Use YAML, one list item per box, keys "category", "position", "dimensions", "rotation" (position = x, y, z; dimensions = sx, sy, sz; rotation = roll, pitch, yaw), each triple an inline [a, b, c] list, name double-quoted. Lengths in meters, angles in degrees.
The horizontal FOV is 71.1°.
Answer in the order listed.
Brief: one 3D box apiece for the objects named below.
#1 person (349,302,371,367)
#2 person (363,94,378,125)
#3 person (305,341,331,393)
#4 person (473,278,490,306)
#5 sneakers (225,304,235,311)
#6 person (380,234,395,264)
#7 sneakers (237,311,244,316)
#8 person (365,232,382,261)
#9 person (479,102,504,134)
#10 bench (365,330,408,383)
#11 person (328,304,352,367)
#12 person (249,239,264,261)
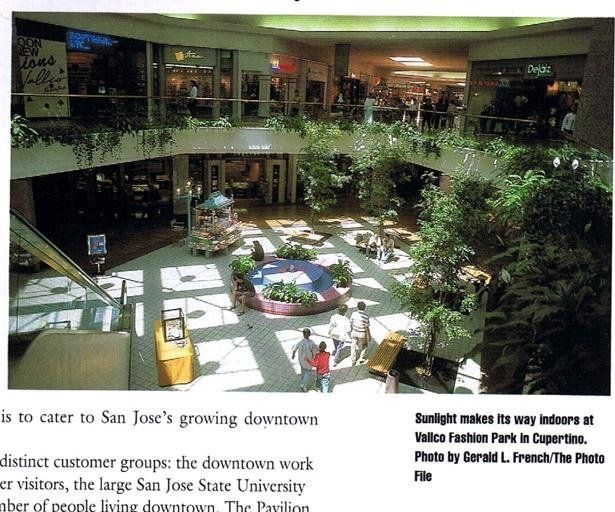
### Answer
- category: "person"
  position: [1.133, 1.601, 9.307]
  dimensions: [0.410, 1.478, 0.627]
  rotation: [7, 20, 12]
- category: "person"
  position: [2.551, -5.896, 17.519]
  dimensions: [0.475, 1.006, 0.779]
  rotation: [5, 19, 6]
- category: "person"
  position: [0.237, 2.078, 8.095]
  dimensions: [0.375, 1.247, 0.483]
  rotation: [6, 20, 9]
- category: "person"
  position: [4.863, 0.979, 12.126]
  dimensions: [0.373, 0.809, 0.591]
  rotation: [9, -18, -27]
- category: "sneakers"
  position: [-2.030, 1.355, 11.547]
  dimensions: [0.256, 0.101, 0.278]
  rotation: [11, 19, 27]
- category: "person"
  position: [2.902, -0.328, 15.455]
  dimensions: [0.483, 0.882, 1.093]
  rotation: [6, 18, 10]
- category: "sneakers"
  position: [-1.737, 1.480, 11.286]
  dimensions: [0.180, 0.071, 0.195]
  rotation: [-2, 17, -12]
- category: "person"
  position: [2.427, -0.357, 15.625]
  dimensions: [0.596, 0.781, 0.839]
  rotation: [5, 18, 7]
- category: "person"
  position: [6.214, -4.710, 14.581]
  dimensions: [0.685, 1.100, 4.423]
  rotation: [9, 18, 19]
- category: "bench"
  position: [1.717, 2.076, 9.324]
  dimensions: [0.433, 0.071, 1.293]
  rotation: [22, 39, 22]
- category: "person"
  position: [0.711, 1.610, 9.338]
  dimensions: [0.470, 1.426, 0.673]
  rotation: [5, 19, 5]
- category: "person"
  position: [-1.622, -0.184, 14.291]
  dimensions: [0.380, 0.655, 0.354]
  rotation: [0, 19, -7]
